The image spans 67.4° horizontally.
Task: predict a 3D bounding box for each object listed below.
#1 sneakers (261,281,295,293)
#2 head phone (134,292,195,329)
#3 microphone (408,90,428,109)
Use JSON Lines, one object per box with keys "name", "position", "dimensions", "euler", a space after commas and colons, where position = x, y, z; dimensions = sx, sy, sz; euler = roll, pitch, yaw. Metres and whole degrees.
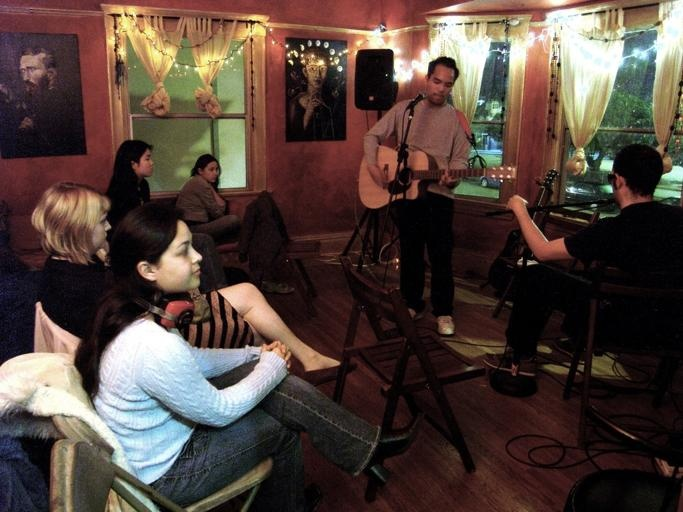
{"name": "sneakers", "position": [-0.589, 0.287, 4.735], "dimensions": [0.305, 0.106, 0.114], "euler": [0, 7, -5]}
{"name": "head phone", "position": [-0.583, 0.180, 1.674], "dimensions": [0.141, 0.070, 0.104], "euler": [24, 9, -10]}
{"name": "microphone", "position": [0.562, -1.161, 3.852], "dimensions": [0.134, 0.125, 0.397], "euler": [4, 18, 8]}
